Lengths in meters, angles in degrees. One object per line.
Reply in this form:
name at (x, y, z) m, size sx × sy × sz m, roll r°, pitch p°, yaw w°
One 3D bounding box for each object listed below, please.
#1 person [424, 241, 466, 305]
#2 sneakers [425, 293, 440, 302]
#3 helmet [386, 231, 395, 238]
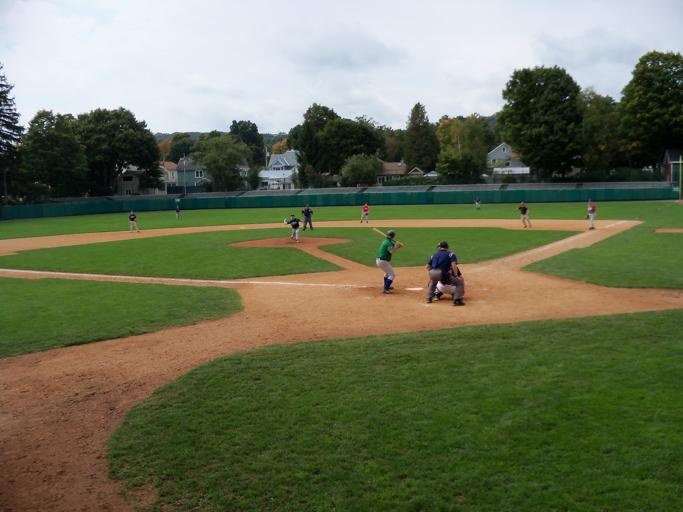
person at (2.854, 0.451, 17.206) m, size 1.036 × 1.648 × 0.620 m, roll 1°, pitch 6°, yaw 16°
sneakers at (2.562, 1.125, 17.533) m, size 0.107 × 0.213 × 0.348 m, roll 13°, pitch 17°, yaw 33°
helmet at (1.461, -0.689, 18.910) m, size 0.193 × 0.197 × 0.253 m, roll 15°, pitch 22°, yaw 37°
